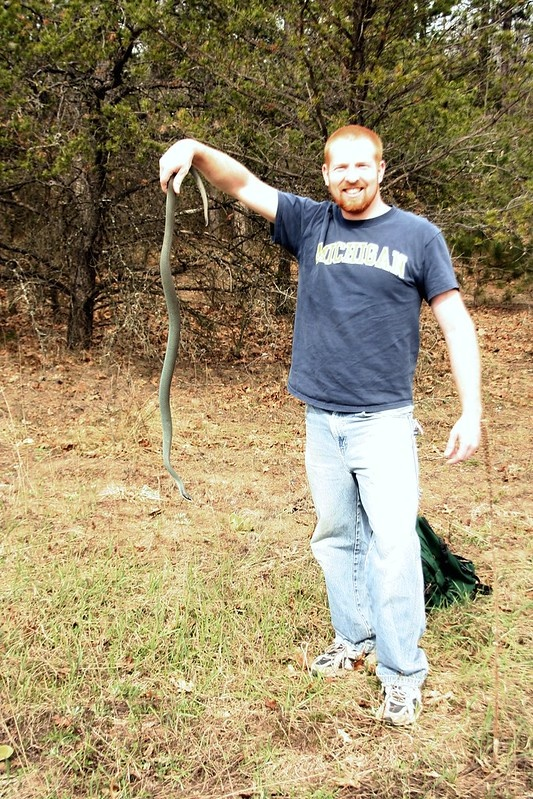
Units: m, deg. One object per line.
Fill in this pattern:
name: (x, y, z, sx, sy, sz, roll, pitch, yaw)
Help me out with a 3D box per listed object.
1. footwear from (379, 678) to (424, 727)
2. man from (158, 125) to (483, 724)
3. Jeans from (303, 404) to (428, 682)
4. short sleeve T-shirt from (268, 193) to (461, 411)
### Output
footwear: (0.468, 1.073, 2.699, 0.106, 0.084, 0.196, -2, -10, 12)
man: (0.190, 0.036, 2.758, 1.281, 1.958, 0.615, 4, 7, 34)
Jeans: (0.357, 0.445, 2.771, 0.487, 1.109, 0.323, 4, 6, 41)
short sleeve T-shirt: (0.264, -0.356, 2.728, 0.821, 0.704, 0.356, 12, 15, 23)
